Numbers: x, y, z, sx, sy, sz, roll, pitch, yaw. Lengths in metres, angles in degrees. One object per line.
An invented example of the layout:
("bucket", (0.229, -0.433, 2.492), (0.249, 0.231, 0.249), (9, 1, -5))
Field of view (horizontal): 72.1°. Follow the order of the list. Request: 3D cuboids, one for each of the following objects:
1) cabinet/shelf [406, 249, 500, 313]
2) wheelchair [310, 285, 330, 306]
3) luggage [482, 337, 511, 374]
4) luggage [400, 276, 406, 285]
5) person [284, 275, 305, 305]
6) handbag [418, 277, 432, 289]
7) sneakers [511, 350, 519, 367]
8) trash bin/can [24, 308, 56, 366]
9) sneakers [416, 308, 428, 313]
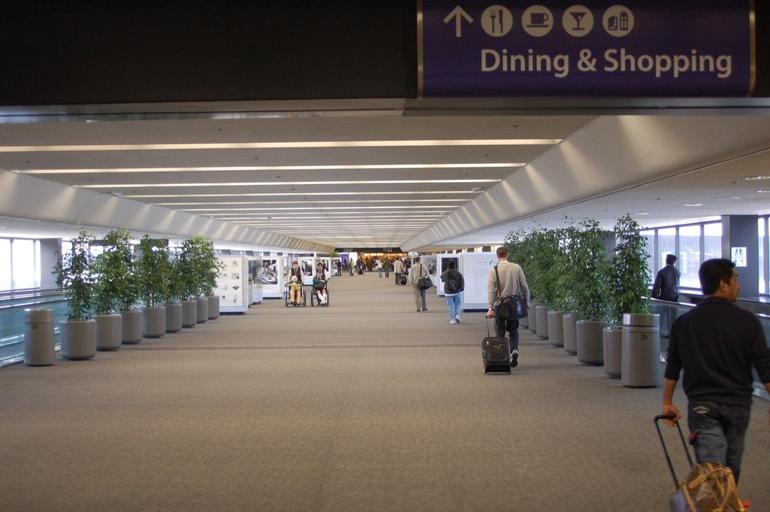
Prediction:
("cabinet/shelf", (3.361, 1.319, 26.353), (3.053, 2.449, 1.716), (-1, -5, -4))
("wheelchair", (-3.849, 2.502, 30.429), (0.685, 1.465, 1.499), (1, -16, -14))
("luggage", (2.428, 2.139, 11.357), (0.579, 0.835, 0.475), (0, -37, 0))
("luggage", (1.961, 2.514, 53.369), (0.845, 0.681, 0.831), (5, 25, -4))
("person", (-5.106, 1.996, 30.087), (0.973, 1.698, 1.260), (0, -1, -11))
("handbag", (1.985, 1.437, 25.285), (0.416, 0.646, 0.852), (-8, -6, 31))
("sneakers", (2.917, 2.289, 11.810), (0.164, 0.455, 0.184), (1, 11, 1))
("trash bin/can", (-8.613, 2.014, 13.100), (0.678, 1.403, 0.491), (0, -1, -20))
("sneakers", (1.857, 2.684, 26.201), (0.144, 0.160, 0.574), (3, 8, 38))
